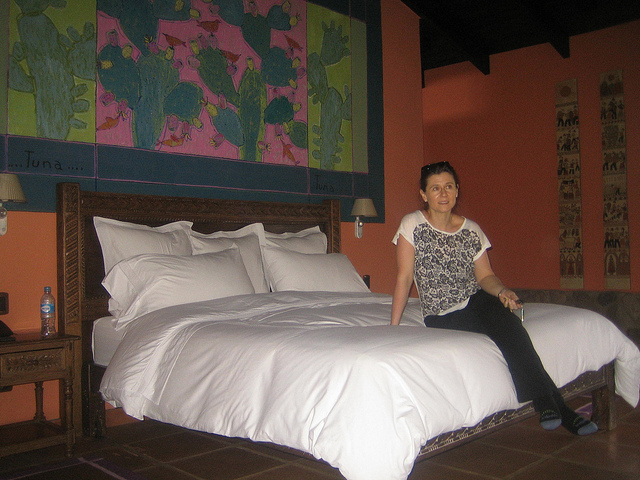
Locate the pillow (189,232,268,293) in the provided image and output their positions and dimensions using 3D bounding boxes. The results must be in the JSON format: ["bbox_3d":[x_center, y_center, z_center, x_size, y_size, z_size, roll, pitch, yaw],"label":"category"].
[{"bbox_3d":[-0.786,0.204,4.374,0.075,0.510,0.504,-30,-15,34],"label":"pillow"}]

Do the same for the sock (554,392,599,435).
[{"bbox_3d":[1.446,1.010,3.019,0.118,0.167,0.402,-15,-6,-10],"label":"sock"}]

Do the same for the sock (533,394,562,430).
[{"bbox_3d":[1.303,0.961,2.943,0.100,0.217,0.300,-14,-29,21],"label":"sock"}]

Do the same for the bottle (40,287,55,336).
[{"bbox_3d":[-2.010,0.520,3.814,0.091,0.311,0.186,-1,1,-29],"label":"bottle"}]

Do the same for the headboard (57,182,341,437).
[{"bbox_3d":[-0.980,0.497,3.701,0.097,1.353,1.962,-6,-5,42],"label":"headboard"}]

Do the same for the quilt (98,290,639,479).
[{"bbox_3d":[-0.112,0.757,3.081,2.176,0.683,1.315,-1,0,44],"label":"quilt"}]

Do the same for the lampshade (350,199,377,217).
[{"bbox_3d":[0.498,-0.363,5.907,0.199,0.213,0.209,-1,2,24],"label":"lampshade"}]

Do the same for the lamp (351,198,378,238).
[{"bbox_3d":[0.537,-0.252,6.033,0.314,0.454,0.344,-5,-2,13],"label":"lamp"}]
